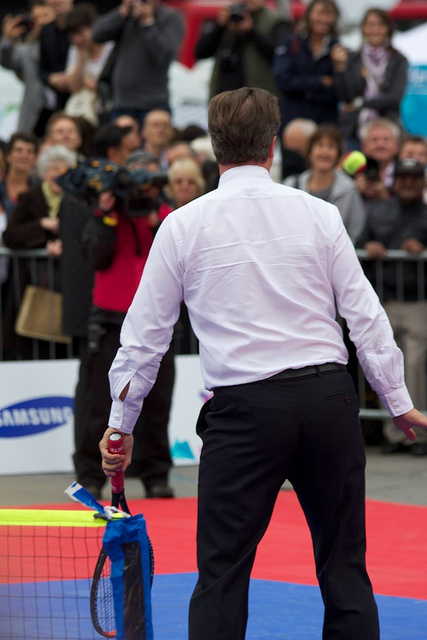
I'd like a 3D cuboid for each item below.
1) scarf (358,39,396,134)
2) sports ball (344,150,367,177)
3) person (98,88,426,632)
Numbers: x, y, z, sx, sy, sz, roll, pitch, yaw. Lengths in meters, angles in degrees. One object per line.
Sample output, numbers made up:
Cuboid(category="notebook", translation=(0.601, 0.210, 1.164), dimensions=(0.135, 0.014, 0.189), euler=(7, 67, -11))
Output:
Cuboid(category="scarf", translation=(1.213, -1.752, 7.910), dimensions=(0.255, 0.648, 0.159), euler=(5, 14, 17))
Cuboid(category="sports ball", translation=(1.010, -1.102, 7.462), dimensions=(0.184, 0.191, 0.174), euler=(-2, 4, 0))
Cuboid(category="person", translation=(0.129, 0.112, 3.009), dimensions=(0.811, 1.499, 0.666), euler=(9, 16, 32))
